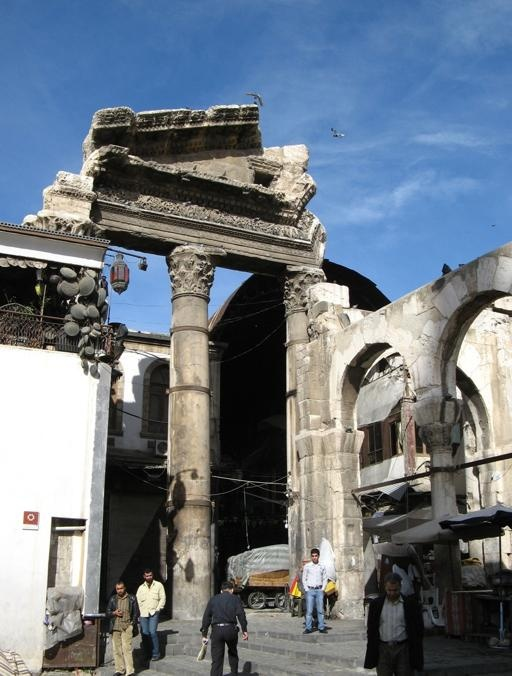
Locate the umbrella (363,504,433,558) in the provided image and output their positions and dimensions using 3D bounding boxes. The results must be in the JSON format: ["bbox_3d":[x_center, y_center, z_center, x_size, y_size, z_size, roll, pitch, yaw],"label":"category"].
[{"bbox_3d":[3.867,4.759,23.397,2.039,0.688,1.493,0,-10,30],"label":"umbrella"}]

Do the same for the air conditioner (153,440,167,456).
[{"bbox_3d":[-3.088,3.590,29.406,0.475,0.400,0.427,10,-27,-27],"label":"air conditioner"}]

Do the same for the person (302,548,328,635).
[{"bbox_3d":[1.073,4.644,16.679,0.420,1.469,0.908,-2,-14,2],"label":"person"}]

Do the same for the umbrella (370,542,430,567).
[{"bbox_3d":[2.816,4.067,17.180,0.734,0.264,0.702,5,-11,-21],"label":"umbrella"}]

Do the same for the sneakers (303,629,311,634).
[{"bbox_3d":[0.921,5.269,16.218,0.140,0.055,0.070,5,-22,-1],"label":"sneakers"}]

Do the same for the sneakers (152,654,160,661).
[{"bbox_3d":[-1.696,5.407,15.292,0.078,0.085,0.221,-1,-31,-1],"label":"sneakers"}]

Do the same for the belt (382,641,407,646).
[{"bbox_3d":[1.449,3.184,9.433,0.266,0.089,0.057,-2,-14,2],"label":"belt"}]
